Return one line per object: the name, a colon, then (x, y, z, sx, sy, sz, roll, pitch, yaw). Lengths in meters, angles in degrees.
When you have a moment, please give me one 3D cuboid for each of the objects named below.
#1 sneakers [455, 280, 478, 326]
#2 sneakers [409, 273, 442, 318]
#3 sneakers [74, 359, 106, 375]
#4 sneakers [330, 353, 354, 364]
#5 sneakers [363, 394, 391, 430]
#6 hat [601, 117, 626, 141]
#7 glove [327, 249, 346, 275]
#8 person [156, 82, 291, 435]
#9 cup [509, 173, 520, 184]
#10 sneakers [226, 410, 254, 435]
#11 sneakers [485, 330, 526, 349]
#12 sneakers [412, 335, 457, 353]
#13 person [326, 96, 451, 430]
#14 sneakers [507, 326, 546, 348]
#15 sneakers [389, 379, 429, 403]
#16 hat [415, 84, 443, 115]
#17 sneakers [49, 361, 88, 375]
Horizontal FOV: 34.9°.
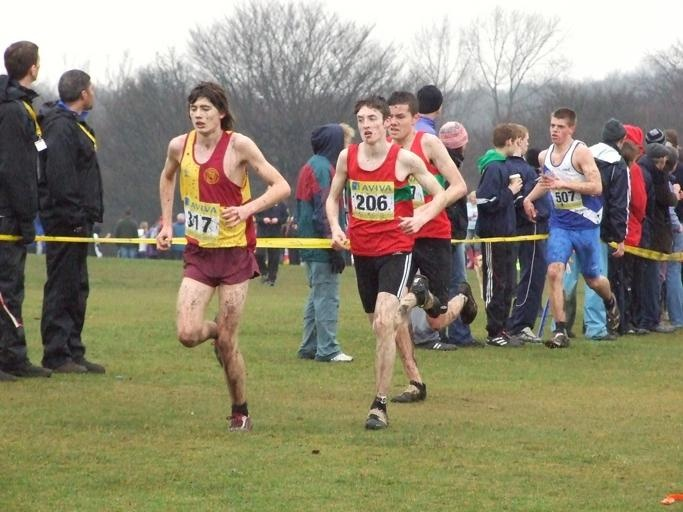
sneakers: (1.440, 0.530, 12.422, 0.178, 0.522, 0.227, -9, -11, 39)
sneakers: (0.841, 0.381, 10.783, 0.276, 0.184, 0.563, -9, 9, -8)
sneakers: (-2.577, 1.144, 11.363, 0.359, 0.213, 0.124, 1, 16, 12)
sneakers: (0.034, 1.165, 12.469, 0.205, 0.082, 0.116, -2, 4, 22)
sneakers: (0.334, 1.349, 9.494, 0.204, 0.257, 0.301, 2, 6, 3)
hat: (3.707, -1.734, 14.850, 0.292, 0.293, 0.317, -8, 14, -10)
glove: (-0.020, 0.047, 12.255, 0.087, 0.264, 0.193, -19, -18, -17)
person: (-1.038, -0.029, 9.501, 1.122, 2.946, 0.731, 2, 6, 7)
cup: (2.212, -0.985, 13.780, 0.117, 0.114, 0.119, -16, 5, 2)
sneakers: (-0.862, 1.405, 9.413, 0.201, 0.150, 0.260, 1, 7, -6)
sneakers: (2.134, 1.065, 13.929, 0.395, 0.167, 0.200, -1, 4, -8)
sneakers: (1.191, 1.085, 13.538, 0.630, 0.259, 0.213, -2, 0, 17)
person: (0.307, -0.016, 9.891, 1.027, 2.853, 0.856, 7, 8, 42)
sneakers: (2.365, 1.049, 14.094, 0.585, 0.253, 0.193, 1, 1, 3)
sneakers: (0.693, 1.304, 10.449, 0.423, 0.171, 0.142, 3, -6, -39)
hat: (1.070, -1.934, 13.418, 0.360, 0.354, 0.445, -1, 12, -2)
sneakers: (-2.795, 1.140, 11.198, 0.349, 0.122, 0.133, -3, 4, -1)
